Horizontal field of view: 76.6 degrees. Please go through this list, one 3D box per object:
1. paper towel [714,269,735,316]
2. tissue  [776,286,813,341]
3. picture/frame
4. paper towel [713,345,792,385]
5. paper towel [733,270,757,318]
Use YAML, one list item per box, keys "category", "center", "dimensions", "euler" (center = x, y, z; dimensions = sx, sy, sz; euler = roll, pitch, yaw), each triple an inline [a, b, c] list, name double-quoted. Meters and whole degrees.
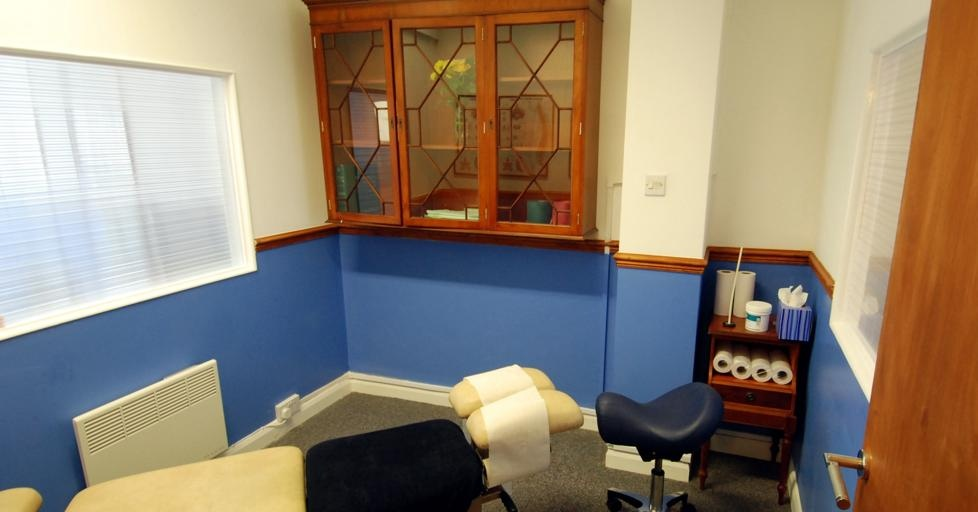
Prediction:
- category: "paper towel"
  center: [1.696, 0.265, 4.444]
  dimensions: [0.142, 0.320, 0.135]
  euler: [7, 16, 20]
- category: "tissue "
  center: [2.087, 0.404, 4.306]
  dimensions: [0.199, 0.323, 0.366]
  euler: [6, -1, 14]
- category: "picture/frame"
  center: [0.140, -0.886, 4.440]
  dimensions: [0.677, 0.822, 0.032]
  euler: [2, 10, 13]
- category: "paper towel"
  center: [1.836, 0.743, 4.299]
  dimensions: [0.332, 0.097, 0.324]
  euler: [2, 7, 17]
- category: "paper towel"
  center: [1.823, 0.273, 4.425]
  dimensions: [0.105, 0.324, 0.094]
  euler: [13, 19, 38]
